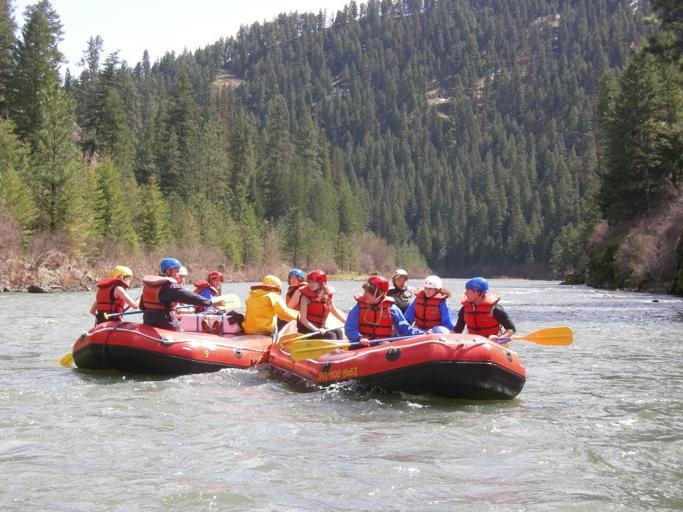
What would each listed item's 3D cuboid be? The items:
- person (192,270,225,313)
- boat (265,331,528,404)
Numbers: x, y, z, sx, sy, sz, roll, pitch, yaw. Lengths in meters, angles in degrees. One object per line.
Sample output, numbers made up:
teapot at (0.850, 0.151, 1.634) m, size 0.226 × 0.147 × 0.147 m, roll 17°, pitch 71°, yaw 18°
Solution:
person at (-3.624, 1.103, 27.672) m, size 1.291 × 1.245 × 0.897 m, roll 3°, pitch -4°, yaw 15°
boat at (1.483, 2.507, 21.895) m, size 3.700 × 0.829 × 2.180 m, roll 1°, pitch -1°, yaw 26°
